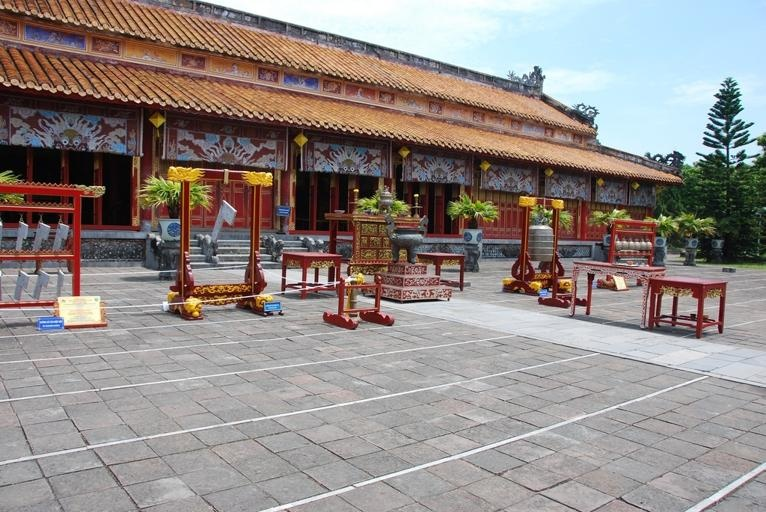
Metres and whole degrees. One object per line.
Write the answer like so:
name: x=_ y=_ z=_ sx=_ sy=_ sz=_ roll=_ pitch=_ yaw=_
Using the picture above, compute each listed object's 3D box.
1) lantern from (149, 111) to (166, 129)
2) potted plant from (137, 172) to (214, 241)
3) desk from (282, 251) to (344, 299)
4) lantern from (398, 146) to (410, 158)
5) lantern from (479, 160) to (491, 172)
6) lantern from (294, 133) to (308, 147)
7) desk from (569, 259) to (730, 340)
lantern: x=-5.704 y=-3.397 z=13.601 sx=0.324 sy=0.433 sz=0.467 roll=1 pitch=1 yaw=40
potted plant: x=-5.020 y=-1.385 z=13.011 sx=2.147 sy=1.772 sz=2.078 roll=1 pitch=3 yaw=-13
desk: x=-1.414 y=0.279 z=10.848 sx=1.119 sy=0.926 sz=1.081 roll=-1 pitch=2 yaw=-40
lantern: x=0.694 y=-3.351 z=17.523 sx=0.329 sy=0.316 sz=0.321 roll=2 pitch=-2 yaw=-4
lantern: x=3.740 y=-3.252 z=19.719 sx=0.377 sy=0.389 sz=0.373 roll=-5 pitch=34 yaw=-1
lantern: x=-2.384 y=-3.326 z=15.581 sx=0.388 sy=0.403 sz=0.272 roll=0 pitch=12 yaw=-10
desk: x=4.627 y=0.700 z=9.239 sx=2.248 sy=1.142 sz=2.223 roll=-3 pitch=13 yaw=-25
